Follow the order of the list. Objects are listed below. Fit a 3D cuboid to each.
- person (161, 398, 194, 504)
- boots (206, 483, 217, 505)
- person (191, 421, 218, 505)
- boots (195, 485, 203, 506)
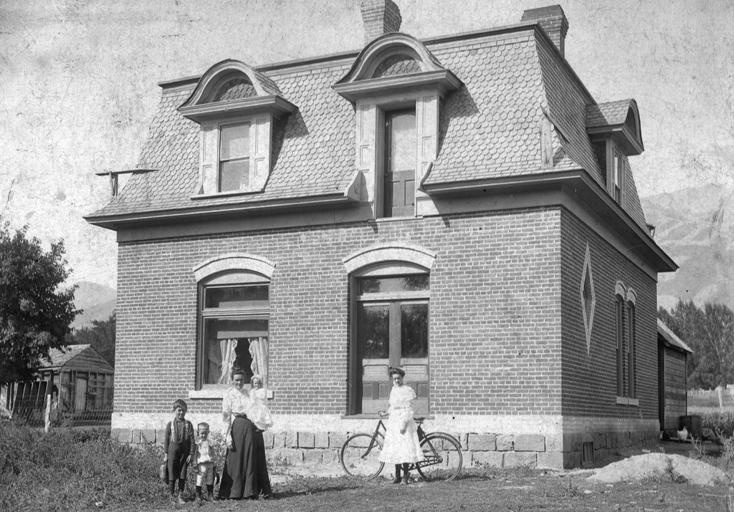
[{"bbox_3d":[-5.598,5.753,35.587,0.807,2.985,1.003,1,-5,-8],"label":"person"},{"bbox_3d":[-4.619,6.994,35.433,0.423,0.676,0.216,-13,-20,40],"label":"boots"},{"bbox_3d":[-4.804,6.126,35.584,0.575,2.194,0.745,10,-2,-11],"label":"person"},{"bbox_3d":[-4.939,6.982,35.388,0.196,0.453,0.847,-1,5,-9],"label":"boots"}]
